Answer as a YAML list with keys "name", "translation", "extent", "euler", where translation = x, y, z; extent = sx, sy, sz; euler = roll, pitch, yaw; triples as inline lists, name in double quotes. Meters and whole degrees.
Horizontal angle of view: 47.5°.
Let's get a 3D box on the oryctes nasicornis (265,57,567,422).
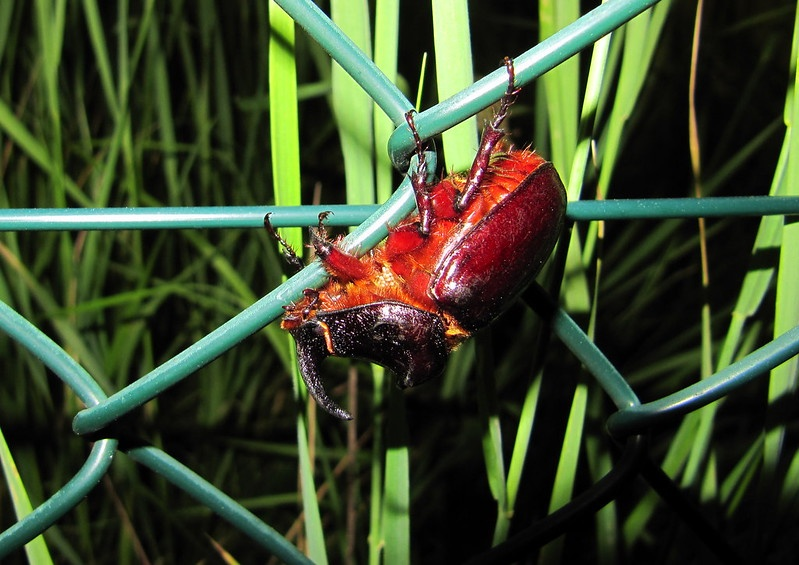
- name: "oryctes nasicornis"
  translation: [0.016, -0.017, 1.287]
  extent: [0.378, 0.149, 0.422]
  euler: [-24, -85, -5]
